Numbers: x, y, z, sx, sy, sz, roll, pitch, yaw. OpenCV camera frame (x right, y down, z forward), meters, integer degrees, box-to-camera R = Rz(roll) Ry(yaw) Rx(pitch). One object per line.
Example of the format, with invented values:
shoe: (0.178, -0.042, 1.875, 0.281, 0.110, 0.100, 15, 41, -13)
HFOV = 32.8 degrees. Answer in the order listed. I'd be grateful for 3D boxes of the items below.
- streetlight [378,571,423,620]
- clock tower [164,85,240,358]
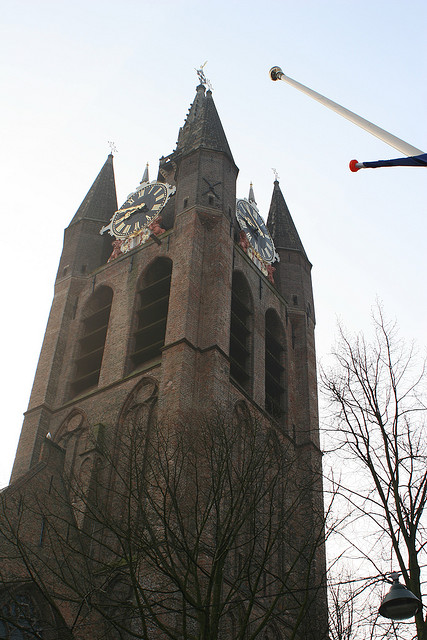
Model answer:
streetlight: (2.787, 4.066, 10.968, 0.630, 0.924, 0.827, -10, -54, 11)
clock tower: (-0.549, -5.279, 31.957, 3.320, 14.759, 3.108, 18, -27, -36)
